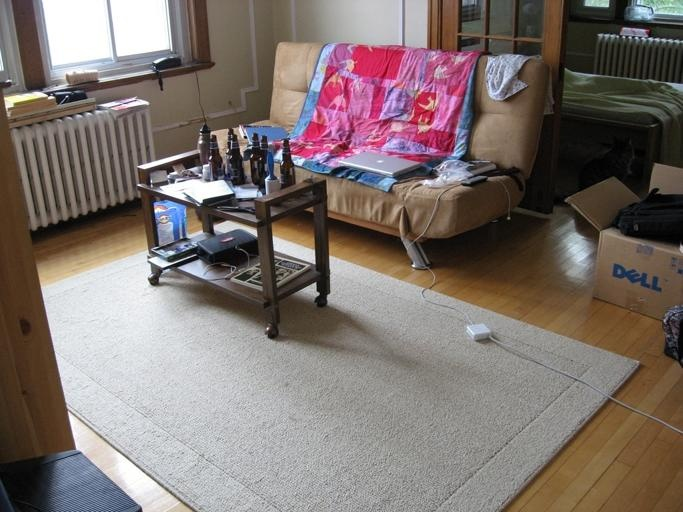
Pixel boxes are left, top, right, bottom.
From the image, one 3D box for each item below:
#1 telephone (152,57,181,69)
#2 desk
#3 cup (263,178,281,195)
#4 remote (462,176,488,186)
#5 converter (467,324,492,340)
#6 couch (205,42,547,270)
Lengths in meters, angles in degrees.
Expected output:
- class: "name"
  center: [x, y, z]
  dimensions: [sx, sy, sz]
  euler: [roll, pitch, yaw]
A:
- class: "telephone"
  center: [-1.374, -1.492, 4.162]
  dimensions: [0.202, 0.056, 0.110]
  euler: [-17, 31, -41]
- class: "desk"
  center: [-0.579, -0.076, 2.851]
  dimensions: [0.955, 0.567, 0.505]
  euler: [15, 25, 35]
- class: "cup"
  center: [-0.342, -0.345, 2.645]
  dimensions: [0.065, 0.099, 0.067]
  euler: [-1, 39, 1]
- class: "remote"
  center: [0.757, -0.423, 3.015]
  dimensions: [0.189, 0.033, 0.065]
  euler: [-22, 31, -38]
- class: "converter"
  center: [0.634, 0.348, 2.469]
  dimensions: [0.084, 0.027, 0.082]
  euler: [-16, 28, -27]
- class: "couch"
  center: [0.098, -0.838, 3.719]
  dimensions: [2.317, 1.009, 1.127]
  euler: [23, 42, 39]
